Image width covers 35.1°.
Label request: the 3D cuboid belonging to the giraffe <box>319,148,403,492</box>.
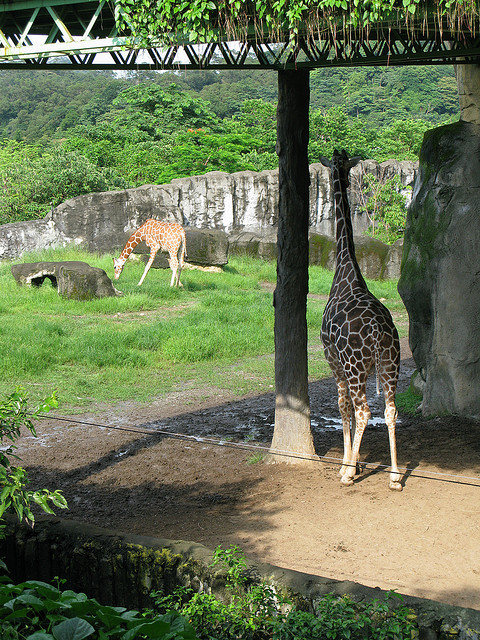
[{"bbox_3d":[0.820,-0.035,5.440,0.496,2.340,0.930,-4,7,3],"label":"giraffe"}]

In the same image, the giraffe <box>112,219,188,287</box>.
[{"bbox_3d":[-2.120,-1.527,17.368,1.907,1.455,0.545,-6,16,-39],"label":"giraffe"}]
